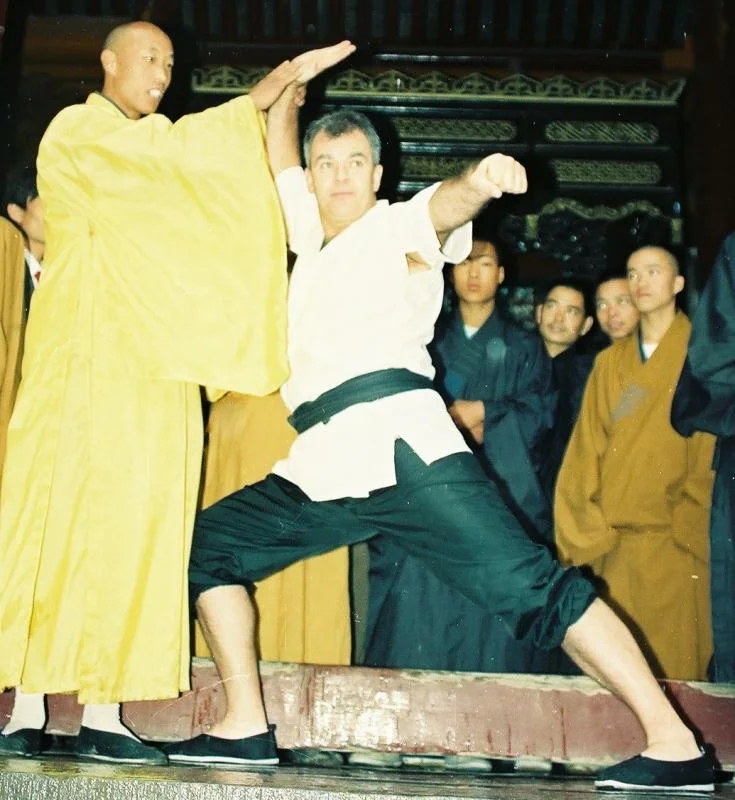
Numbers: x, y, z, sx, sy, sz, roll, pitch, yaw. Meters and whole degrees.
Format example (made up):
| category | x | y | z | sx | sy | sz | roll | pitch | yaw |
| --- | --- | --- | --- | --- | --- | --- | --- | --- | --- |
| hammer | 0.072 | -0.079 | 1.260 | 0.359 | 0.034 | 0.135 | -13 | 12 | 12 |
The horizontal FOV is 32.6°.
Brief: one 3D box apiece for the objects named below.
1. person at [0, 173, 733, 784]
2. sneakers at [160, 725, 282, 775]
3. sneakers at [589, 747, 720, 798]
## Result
| category | x | y | z | sx | sy | sz | roll | pitch | yaw |
| --- | --- | --- | --- | --- | --- | --- | --- | --- | --- |
| person | 0.067 | 0.075 | 2.515 | 1.032 | 1.383 | 0.299 | -3 | -4 | 24 |
| sneakers | -0.288 | 0.707 | 2.518 | 0.249 | 0.073 | 0.078 | 2 | -33 | 0 |
| sneakers | 0.553 | 0.731 | 2.425 | 0.259 | 0.081 | 0.077 | 2 | -17 | 5 |
